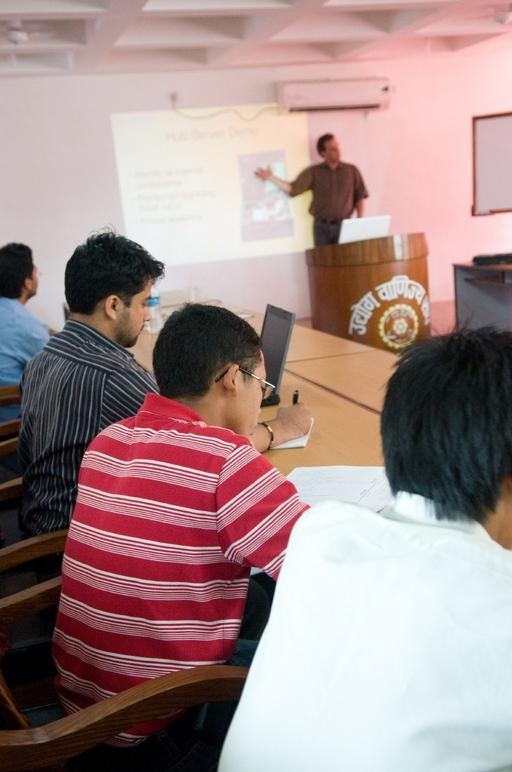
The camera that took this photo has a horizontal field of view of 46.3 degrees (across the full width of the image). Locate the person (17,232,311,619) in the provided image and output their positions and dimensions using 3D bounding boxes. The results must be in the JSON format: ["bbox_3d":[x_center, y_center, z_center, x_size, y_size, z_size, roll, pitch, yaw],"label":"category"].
[{"bbox_3d":[-0.443,0.008,1.746,0.432,0.866,0.545,27,26,20],"label":"person"}]

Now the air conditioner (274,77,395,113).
[{"bbox_3d":[0.958,-3.264,6.880,1.674,0.441,0.466,-3,27,-15],"label":"air conditioner"}]

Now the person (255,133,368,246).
[{"bbox_3d":[0.740,-2.341,7.140,1.170,1.269,0.283,-8,12,-18],"label":"person"}]

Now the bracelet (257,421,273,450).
[{"bbox_3d":[0.037,0.133,1.720,0.020,0.063,0.064,-14,49,-10],"label":"bracelet"}]

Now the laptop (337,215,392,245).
[{"bbox_3d":[0.824,-1.249,4.776,0.369,0.210,0.243,-7,17,-15],"label":"laptop"}]
